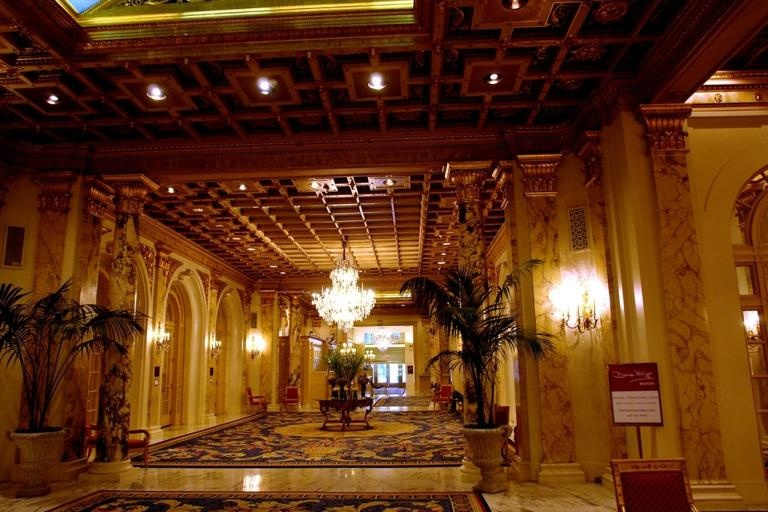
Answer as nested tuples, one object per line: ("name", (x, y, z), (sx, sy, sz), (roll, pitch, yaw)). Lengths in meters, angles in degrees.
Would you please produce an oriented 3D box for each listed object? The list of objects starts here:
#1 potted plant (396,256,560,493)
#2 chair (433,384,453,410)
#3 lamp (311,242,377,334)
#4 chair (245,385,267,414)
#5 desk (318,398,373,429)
("potted plant", (1.636, 1.889, 8.272), (2.050, 3.646, 2.144), (-4, -13, 12))
("chair", (2.360, 5.615, 19.974), (1.062, 1.232, 0.973), (-3, -24, 12))
("lamp", (-1.186, 0.909, 15.259), (1.903, 2.786, 1.871), (6, 11, 24))
("chair", (-4.750, 5.290, 18.472), (0.774, 0.909, 0.975), (2, -13, -14))
("desk", (-1.158, 4.704, 14.854), (1.761, 0.755, 1.694), (-1, -21, 0))
